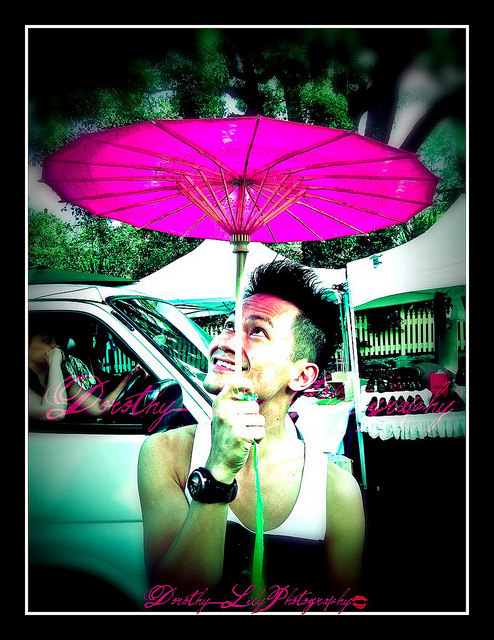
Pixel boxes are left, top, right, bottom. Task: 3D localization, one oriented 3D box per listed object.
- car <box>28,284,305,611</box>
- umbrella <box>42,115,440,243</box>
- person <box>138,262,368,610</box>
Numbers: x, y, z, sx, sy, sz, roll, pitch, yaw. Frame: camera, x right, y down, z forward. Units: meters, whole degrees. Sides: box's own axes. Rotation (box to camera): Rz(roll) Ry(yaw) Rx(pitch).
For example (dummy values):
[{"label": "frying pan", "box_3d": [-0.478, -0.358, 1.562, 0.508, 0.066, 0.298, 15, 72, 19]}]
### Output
[{"label": "car", "box_3d": [-0.902, 0.752, 3.586, 1.943, 1.894, 1.699, -1, -3, 0]}, {"label": "umbrella", "box_3d": [-0.027, -0.609, 3.026, 1.984, 0.535, 1.288, 3, -1, -10]}, {"label": "person", "box_3d": [0.105, 0.721, 3.384, 1.407, 1.916, 0.728, 3, -1, -14]}]
